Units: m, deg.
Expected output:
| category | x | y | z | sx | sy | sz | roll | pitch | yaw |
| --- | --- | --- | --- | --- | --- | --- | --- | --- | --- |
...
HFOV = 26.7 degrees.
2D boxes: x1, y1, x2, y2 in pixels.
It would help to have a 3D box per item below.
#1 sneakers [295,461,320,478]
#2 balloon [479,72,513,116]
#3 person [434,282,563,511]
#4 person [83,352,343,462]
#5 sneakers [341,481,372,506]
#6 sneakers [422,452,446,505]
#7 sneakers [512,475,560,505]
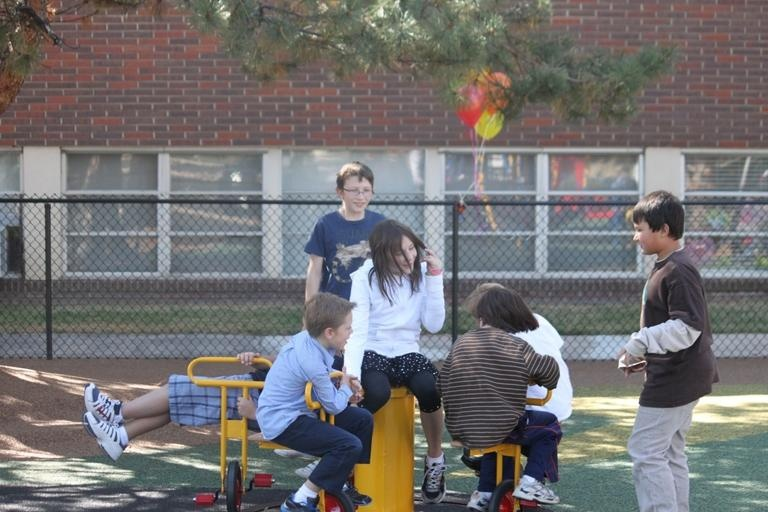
| category | x | y | z | sx | sy | sz | roll | pitch | yaw |
| --- | --- | --- | --- | --- | --- | --- | --- | --- | --- |
| sneakers | -0.939 | 2.689 | 20.378 | 0.237 | 0.115 | 0.348 | 0 | -5 | 9 |
| balloon | 1.519 | -2.260 | 22.130 | 0.332 | 0.513 | 0.645 | -1 | -3 | -15 |
| person | 1.447 | 1.665 | 19.703 | 1.418 | 2.651 | 0.358 | -2 | -2 | 9 |
| person | -2.493 | 1.798 | 19.957 | 2.173 | 1.200 | 0.787 | -10 | -31 | 6 |
| sneakers | -0.365 | 2.879 | 19.580 | 0.455 | 0.205 | 0.168 | 12 | -7 | 7 |
| sneakers | 0.635 | 2.750 | 20.040 | 0.240 | 0.642 | 0.248 | 0 | -9 | 4 |
| sneakers | 1.824 | 2.837 | 19.613 | 0.638 | 0.302 | 0.251 | 21 | -7 | -6 |
